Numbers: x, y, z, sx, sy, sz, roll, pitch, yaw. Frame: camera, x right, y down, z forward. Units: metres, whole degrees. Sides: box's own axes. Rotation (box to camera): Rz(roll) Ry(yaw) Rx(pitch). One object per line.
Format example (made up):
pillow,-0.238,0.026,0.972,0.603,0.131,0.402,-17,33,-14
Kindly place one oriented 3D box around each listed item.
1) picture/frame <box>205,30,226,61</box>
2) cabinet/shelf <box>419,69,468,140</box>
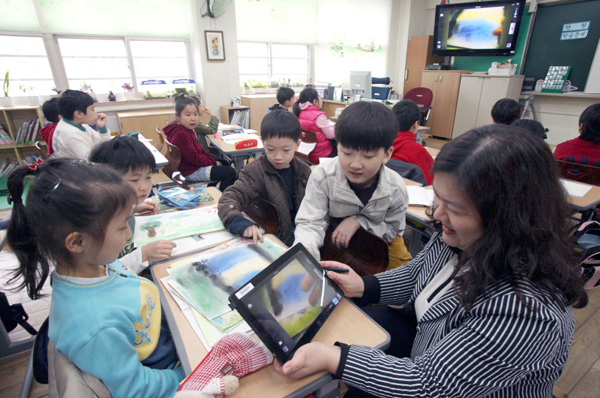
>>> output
picture/frame,-1.392,-2.506,5.940,0.423,0.499,0.033,-17,27,-38
cabinet/shelf,2.626,-1.742,6.811,0.509,1.210,0.837,-7,23,-25
